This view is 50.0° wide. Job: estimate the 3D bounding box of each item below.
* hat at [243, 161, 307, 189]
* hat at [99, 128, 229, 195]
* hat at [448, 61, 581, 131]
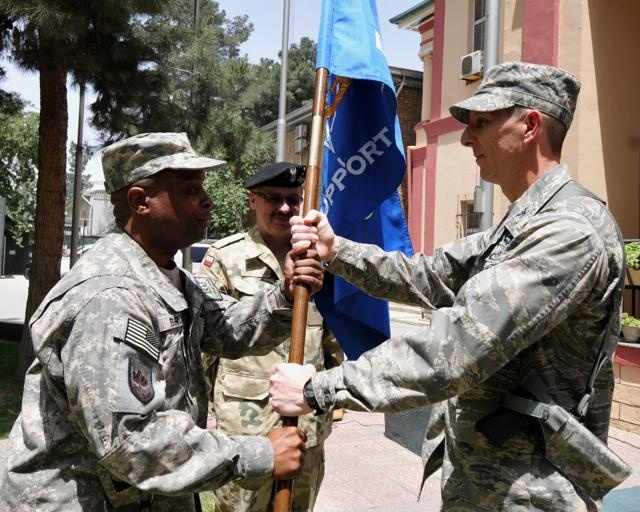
[{"bbox_3d":[-0.305,-0.536,4.617,0.259,0.093,0.244,-1,2,23],"label":"hat"},{"bbox_3d":[-0.751,-0.476,3.334,0.670,0.250,0.476,-7,4,16],"label":"hat"},{"bbox_3d":[0.950,-0.794,3.359,0.620,0.251,0.462,6,12,10],"label":"hat"}]
